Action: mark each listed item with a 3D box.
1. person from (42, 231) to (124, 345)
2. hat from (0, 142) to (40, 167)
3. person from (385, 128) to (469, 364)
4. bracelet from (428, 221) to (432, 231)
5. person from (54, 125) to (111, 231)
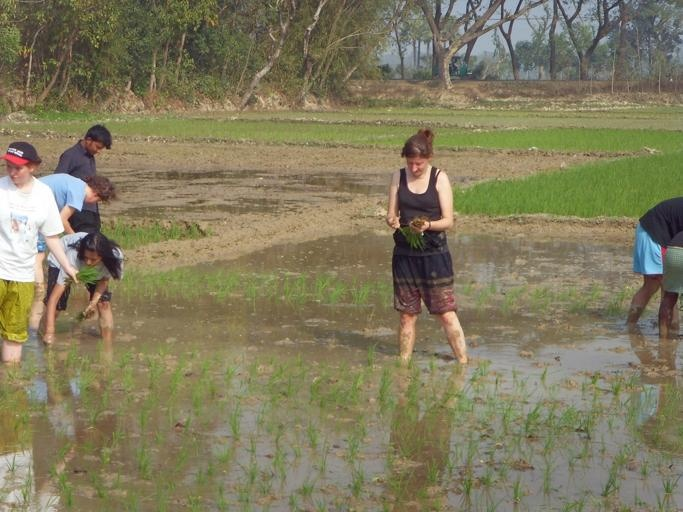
[{"bbox_3d":[-3.143,0.411,12.953,0.674,1.408,1.073,-4,47,-24],"label":"person"},{"bbox_3d":[-3.504,-1.132,11.770,0.346,0.262,0.402,-1,5,-11],"label":"hat"},{"bbox_3d":[0.956,-0.087,12.155,0.850,2.702,0.544,0,4,6],"label":"person"},{"bbox_3d":[1.001,-0.342,12.018,0.037,0.089,0.123,0,5,5],"label":"bracelet"},{"bbox_3d":[-3.335,-0.833,13.776,0.550,1.680,0.750,6,1,3],"label":"person"}]
